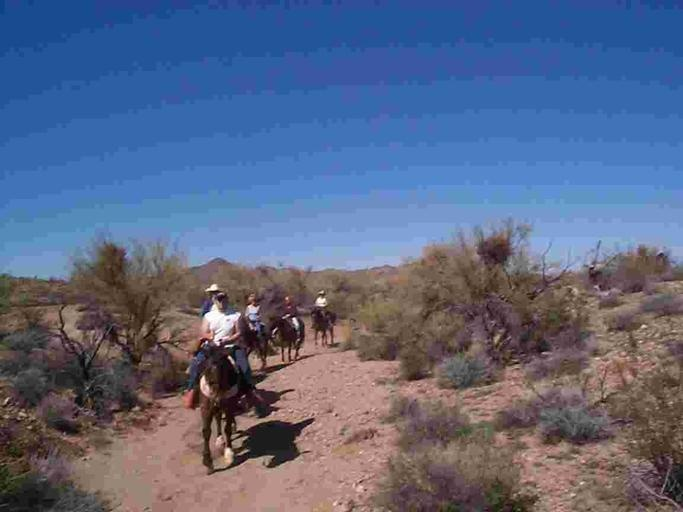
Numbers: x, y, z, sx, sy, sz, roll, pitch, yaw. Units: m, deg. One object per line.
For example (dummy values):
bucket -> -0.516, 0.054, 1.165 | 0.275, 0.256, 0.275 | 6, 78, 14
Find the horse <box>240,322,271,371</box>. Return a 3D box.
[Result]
horse -> -3.361, 3.547, 21.616 | 0.647, 1.707, 2.330 | -8, 0, 14

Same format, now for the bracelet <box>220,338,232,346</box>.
bracelet -> -3.089, 2.238, 14.384 | 0.177, 0.086, 0.253 | 2, 7, 0

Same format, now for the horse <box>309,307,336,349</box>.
horse -> -0.777, 3.241, 26.439 | 0.567, 1.475, 2.099 | -2, 5, 29

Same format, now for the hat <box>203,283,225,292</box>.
hat -> -6.200, 1.483, 26.568 | 0.612, 0.282, 0.753 | -2, -17, -9
